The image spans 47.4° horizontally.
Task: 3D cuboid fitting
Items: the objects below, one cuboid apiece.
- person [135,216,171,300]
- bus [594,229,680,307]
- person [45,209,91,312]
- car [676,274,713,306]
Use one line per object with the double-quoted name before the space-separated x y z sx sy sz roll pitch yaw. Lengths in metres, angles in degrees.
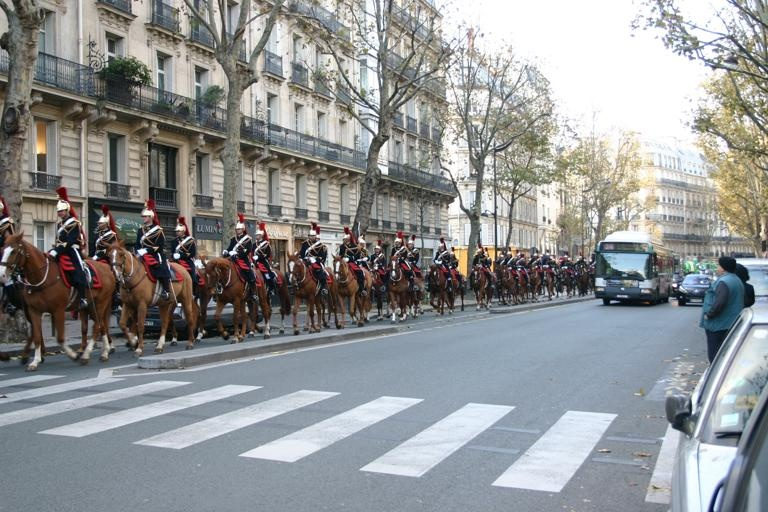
"person" -5.721 -0.022 21.695 0.828 2.178 0.818 0 -1 2
"bus" 12.706 0.739 44.013 2.580 3.879 5.925 3 5 28
"person" -7.103 0.133 19.671 0.869 2.266 0.881 0 -1 10
"car" 13.954 1.567 39.332 1.341 1.180 2.485 -4 -8 28
